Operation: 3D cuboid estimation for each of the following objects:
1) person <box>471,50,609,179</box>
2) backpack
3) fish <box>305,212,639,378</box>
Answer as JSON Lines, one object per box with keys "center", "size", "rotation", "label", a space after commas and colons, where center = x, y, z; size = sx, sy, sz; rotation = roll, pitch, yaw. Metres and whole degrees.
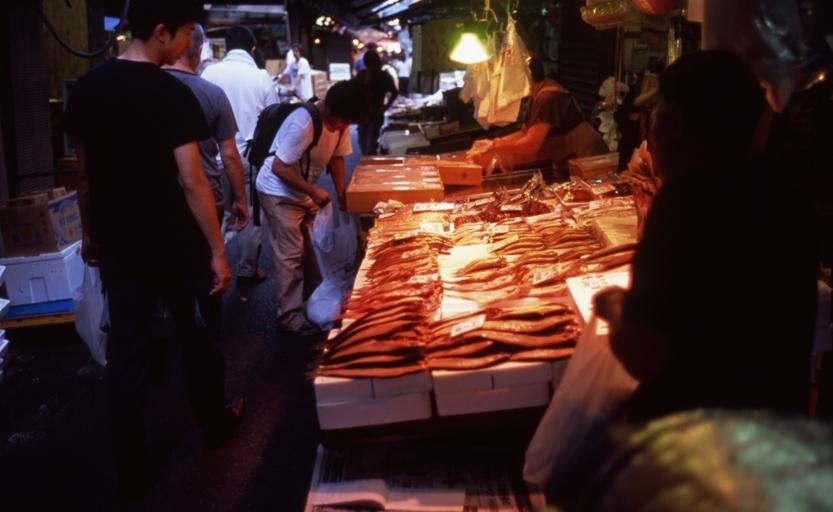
{"center": [1.304, -1.502, 6.240], "size": [1.521, 1.245, 0.884], "rotation": [-4, 15, 7], "label": "person"}
{"center": [-1.255, -1.116, 5.285], "size": [0.720, 0.649, 0.465], "rotation": [8, 16, -19], "label": "backpack"}
{"center": [0.282, 0.244, 3.444], "size": [1.137, 0.165, 1.252], "rotation": [-5, 24, 16], "label": "fish"}
